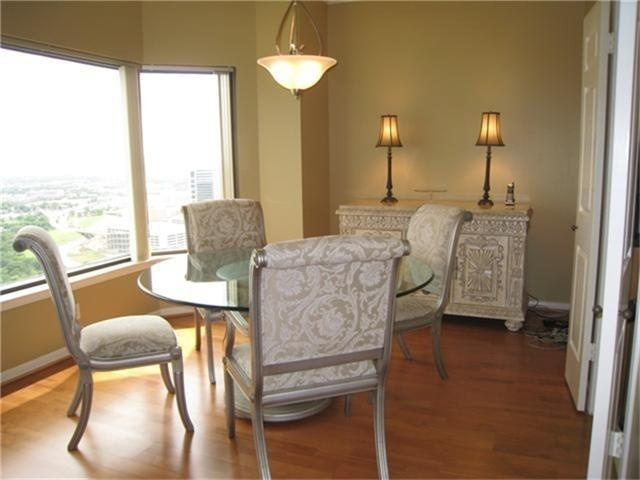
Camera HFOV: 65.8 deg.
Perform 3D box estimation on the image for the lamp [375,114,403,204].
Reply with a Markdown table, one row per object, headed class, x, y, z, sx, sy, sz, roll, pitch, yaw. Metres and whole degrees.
| class | x | y | z | sx | sy | sz | roll | pitch | yaw |
| --- | --- | --- | --- | --- | --- | --- | --- | --- | --- |
| lamp | 0.691 | -0.814 | 4.916 | 0.252 | 0.857 | 0.558 | 0 | 11 | 9 |
